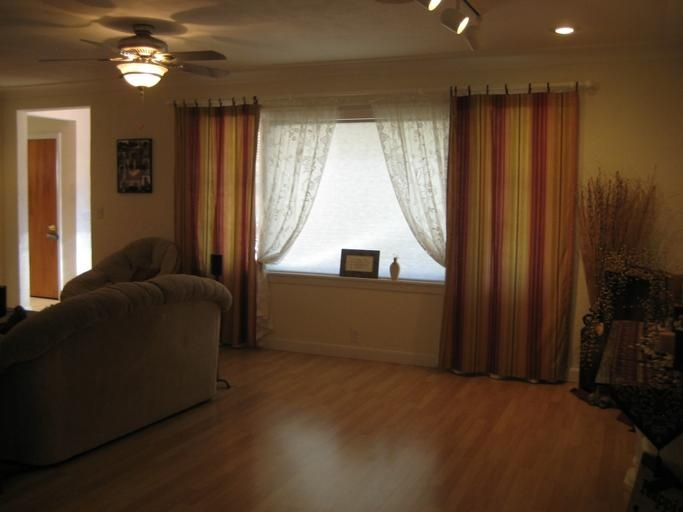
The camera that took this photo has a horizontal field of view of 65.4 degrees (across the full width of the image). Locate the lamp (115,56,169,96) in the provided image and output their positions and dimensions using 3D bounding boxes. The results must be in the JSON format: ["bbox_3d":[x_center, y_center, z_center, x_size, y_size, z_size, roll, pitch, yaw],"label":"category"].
[{"bbox_3d":[-1.637,-1.501,4.386,0.372,0.191,0.395,1,4,7],"label":"lamp"}]

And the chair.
[{"bbox_3d":[-2.414,0.211,5.864,1.024,1.043,0.805,7,10,-30],"label":"chair"}]

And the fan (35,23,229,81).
[{"bbox_3d":[-1.527,-1.599,4.307,0.889,0.357,0.935,0,-1,18],"label":"fan"}]

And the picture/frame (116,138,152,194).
[{"bbox_3d":[-2.405,-1.074,6.237,0.544,0.834,0.030,5,9,18],"label":"picture/frame"}]
